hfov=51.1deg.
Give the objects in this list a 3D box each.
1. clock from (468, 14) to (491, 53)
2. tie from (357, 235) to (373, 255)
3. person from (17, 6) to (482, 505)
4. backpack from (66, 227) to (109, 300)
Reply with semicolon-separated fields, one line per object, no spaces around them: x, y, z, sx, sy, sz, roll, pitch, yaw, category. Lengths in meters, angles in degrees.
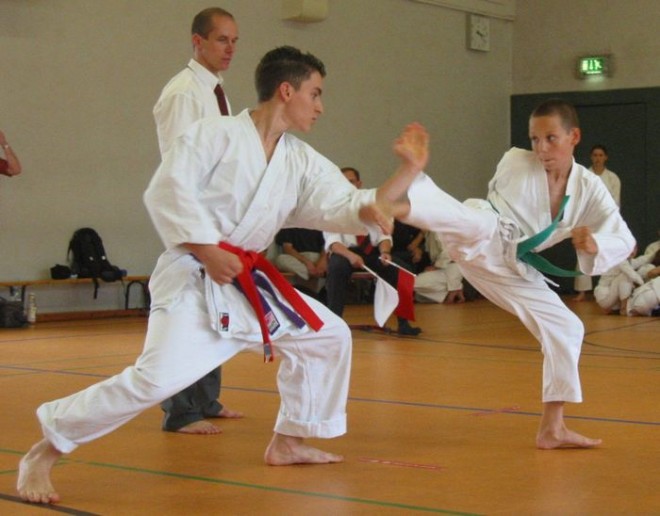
1.918;-2.924;8.983;0.532;0.527;0.093;-3;-1;-39;clock
0.294;-0.109;6.012;0.052;0.168;0.122;-5;8;-7;tie
-0.346;0.022;2.246;1.013;1.151;0.313;7;-3;-8;person
-2.230;-0.015;6.342;0.349;0.470;0.182;-3;4;-35;backpack
